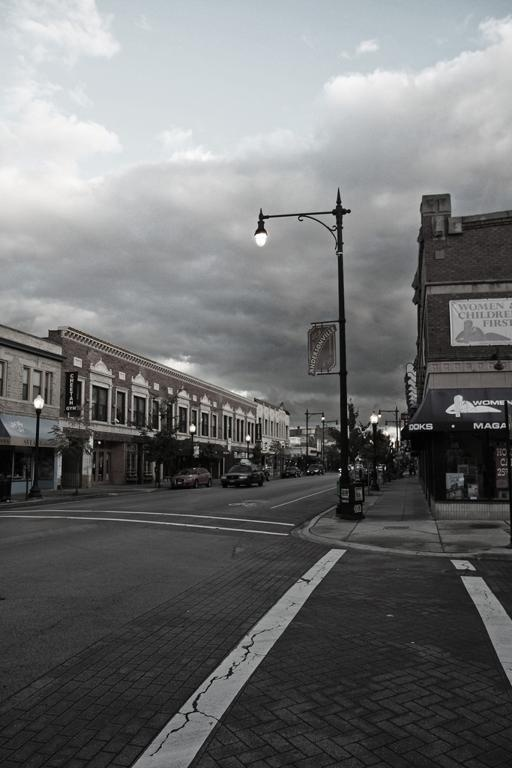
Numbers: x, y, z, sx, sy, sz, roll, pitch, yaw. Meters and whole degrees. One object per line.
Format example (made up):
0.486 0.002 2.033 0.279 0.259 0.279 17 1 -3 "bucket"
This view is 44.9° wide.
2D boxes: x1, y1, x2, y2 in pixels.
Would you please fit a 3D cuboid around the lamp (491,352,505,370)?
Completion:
6.666 -0.615 16.987 0.291 0.486 0.191 3 -8 -28 "lamp"

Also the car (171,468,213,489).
-4.259 6.199 41.058 1.653 1.245 4.231 -2 -7 15 "car"
